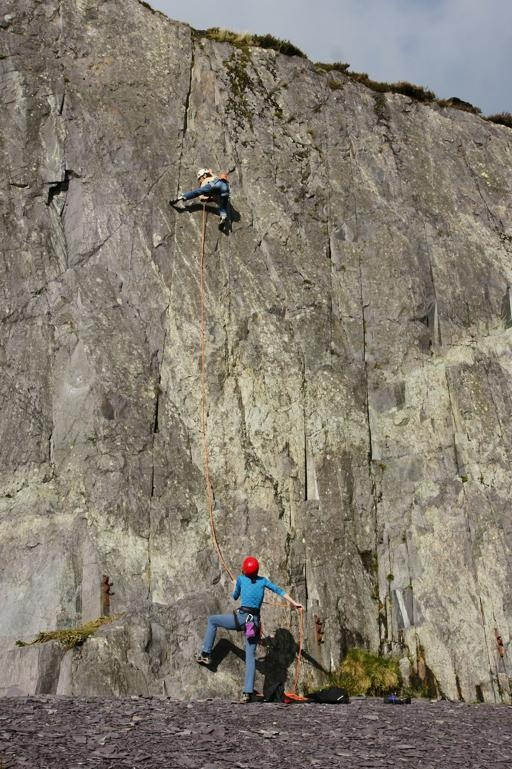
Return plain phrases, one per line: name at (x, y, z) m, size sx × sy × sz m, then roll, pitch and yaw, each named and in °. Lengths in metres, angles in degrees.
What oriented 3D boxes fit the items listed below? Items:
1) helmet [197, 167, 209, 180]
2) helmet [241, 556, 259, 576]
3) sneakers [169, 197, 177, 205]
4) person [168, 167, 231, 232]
helmet at (-1.200, -4.801, 18.660) m, size 0.237 × 0.241 × 0.238 m, roll -32°, pitch -21°, yaw 21°
helmet at (-0.092, 2.971, 13.367) m, size 0.216 × 0.382 × 0.373 m, roll 3°, pitch 8°, yaw -8°
sneakers at (-1.838, -4.092, 18.458) m, size 0.097 × 0.051 × 0.178 m, roll 4°, pitch -36°, yaw 2°
person at (-0.985, -4.304, 18.440) m, size 0.927 × 0.643 × 1.484 m, roll 1°, pitch -47°, yaw -14°
